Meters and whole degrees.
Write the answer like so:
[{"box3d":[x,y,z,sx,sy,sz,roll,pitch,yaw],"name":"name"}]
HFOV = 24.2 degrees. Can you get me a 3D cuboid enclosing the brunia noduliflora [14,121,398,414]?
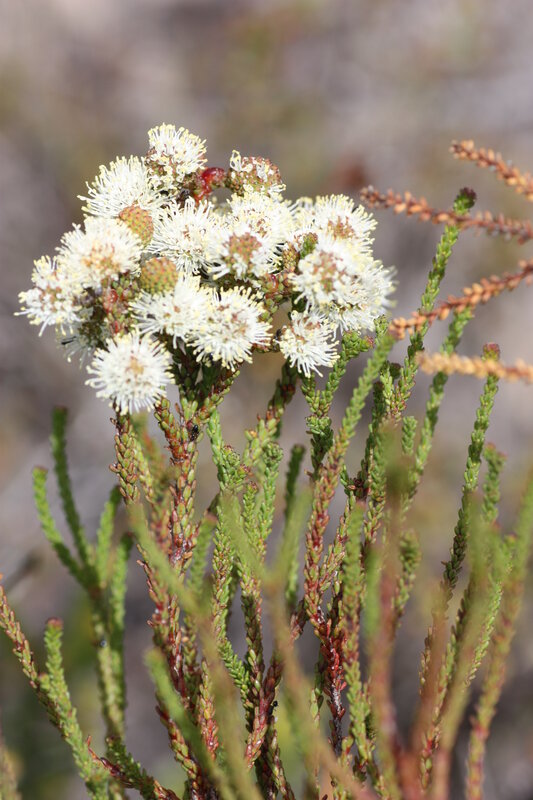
[{"box3d":[-0.104,-0.184,2.037,0.477,0.497,0.247,8,-13,1],"name":"brunia noduliflora"}]
